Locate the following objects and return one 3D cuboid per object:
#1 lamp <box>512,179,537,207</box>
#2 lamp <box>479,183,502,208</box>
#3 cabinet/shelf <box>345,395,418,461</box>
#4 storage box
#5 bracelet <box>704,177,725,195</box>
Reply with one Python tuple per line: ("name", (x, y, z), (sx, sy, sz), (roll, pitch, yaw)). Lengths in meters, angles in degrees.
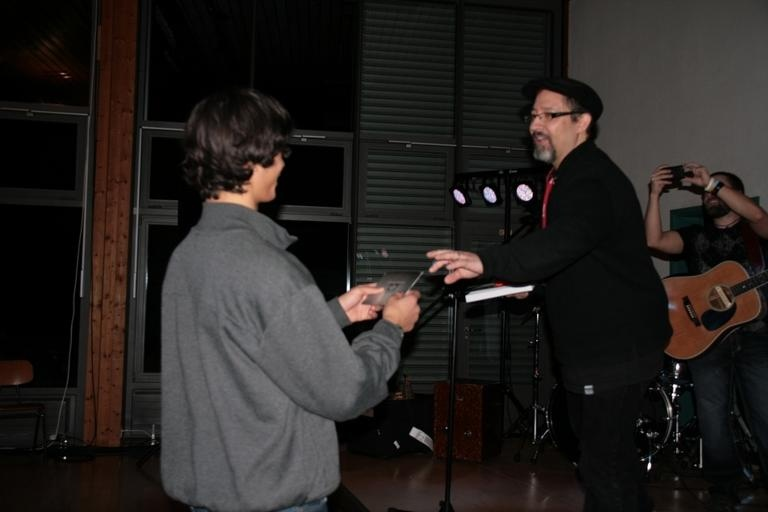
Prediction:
("lamp", (1.425, -0.635, 6.451), (0.262, 0.243, 0.086), (3, 12, 25))
("lamp", (1.117, -0.629, 6.723), (0.222, 0.209, 0.070), (-1, 27, 30))
("cabinet/shelf", (-0.050, 1.636, 6.359), (0.588, 0.481, 0.563), (0, -1, -32))
("storage box", (0.940, 1.636, 6.621), (0.870, 1.096, 0.800), (1, -3, -2))
("bracelet", (2.690, -0.577, 5.261), (0.073, 0.103, 0.139), (27, 10, 13))
